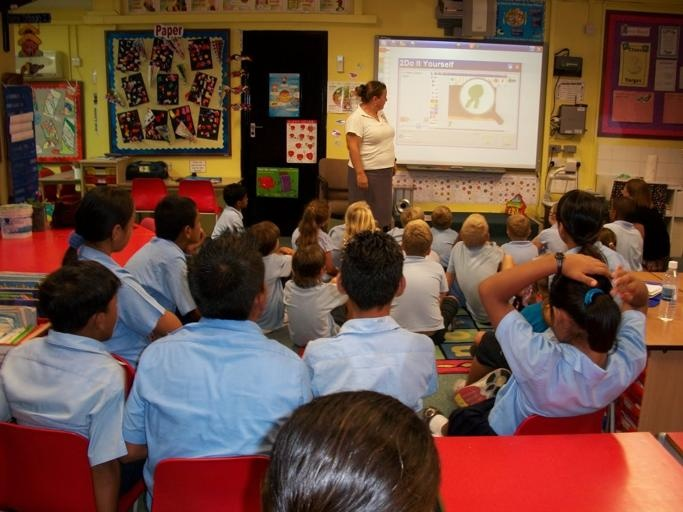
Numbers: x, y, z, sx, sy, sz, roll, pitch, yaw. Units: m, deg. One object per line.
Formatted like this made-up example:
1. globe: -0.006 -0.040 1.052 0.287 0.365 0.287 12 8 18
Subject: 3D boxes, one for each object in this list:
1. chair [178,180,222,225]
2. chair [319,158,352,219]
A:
1. chair: -1.729 -0.496 6.564 0.393 0.774 0.458 -2 -6 1
2. chair: -0.064 -0.841 7.094 0.541 0.856 0.656 3 19 -5
